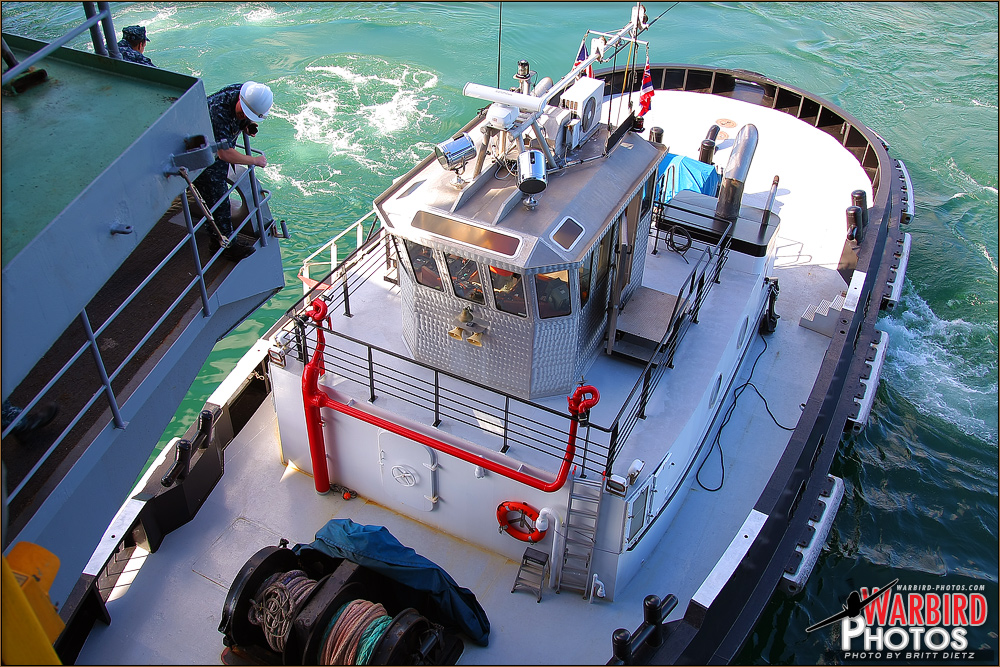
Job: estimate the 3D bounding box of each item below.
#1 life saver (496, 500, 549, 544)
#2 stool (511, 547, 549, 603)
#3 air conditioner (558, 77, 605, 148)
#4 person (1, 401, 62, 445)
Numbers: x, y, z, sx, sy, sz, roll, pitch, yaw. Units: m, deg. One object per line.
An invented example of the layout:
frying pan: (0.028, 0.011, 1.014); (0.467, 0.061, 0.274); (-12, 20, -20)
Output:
life saver: (0.489, 3.655, 15.418); (0.814, 0.946, 0.243); (-48, 51, -2)
stool: (0.632, 4.847, 15.551); (0.681, 0.818, 0.636); (15, 42, 13)
air conditioner: (1.622, -4.479, 15.633); (0.578, 1.449, 1.215); (15, 24, 24)
person: (-7.604, 1.387, 12.436); (0.782, 0.348, 0.745); (-3, 42, -8)
